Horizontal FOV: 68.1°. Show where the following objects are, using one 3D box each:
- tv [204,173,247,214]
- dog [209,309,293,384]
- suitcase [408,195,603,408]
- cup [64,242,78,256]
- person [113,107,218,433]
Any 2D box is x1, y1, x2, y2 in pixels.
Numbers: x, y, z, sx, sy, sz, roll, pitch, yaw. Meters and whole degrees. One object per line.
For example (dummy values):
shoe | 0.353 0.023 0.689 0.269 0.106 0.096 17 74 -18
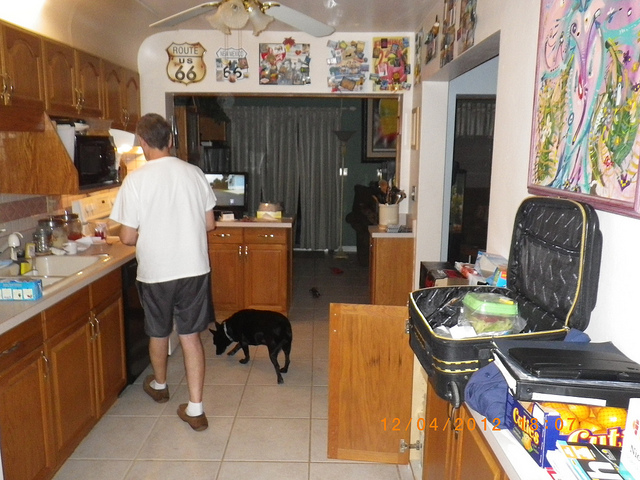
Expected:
tv | -0.945 -0.548 4.820 0.541 0.458 0.064 1 8 4
dog | -0.525 0.794 3.800 0.727 0.522 0.253 10 16 35
suitcase | 0.666 0.182 1.818 0.590 0.735 0.498 1 13 2
cup | -1.741 0.036 3.300 0.075 0.081 0.100 1 0 -10
person | -1.114 0.108 3.355 0.634 2.027 1.349 -7 15 -28
